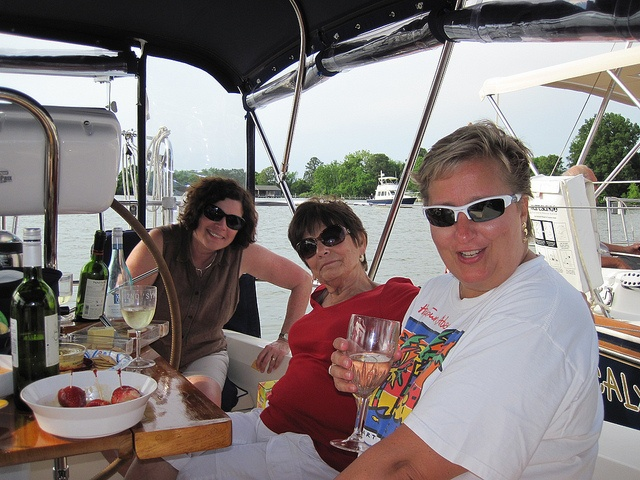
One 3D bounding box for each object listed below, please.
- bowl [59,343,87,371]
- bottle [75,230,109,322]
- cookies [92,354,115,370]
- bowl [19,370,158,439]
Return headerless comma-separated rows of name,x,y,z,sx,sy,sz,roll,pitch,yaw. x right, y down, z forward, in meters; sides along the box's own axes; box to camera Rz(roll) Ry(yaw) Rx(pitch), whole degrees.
bowl,-0.670,0.307,1.104,0.072,0.032,0.069,2,2,0
bottle,-0.868,0.140,1.563,0.192,0.334,0.100,0,1,27
cookies,-0.611,0.346,1.147,0.042,0.014,0.031,5,14,-25
bowl,-0.481,0.343,0.864,0.250,0.095,0.192,-1,1,-21
